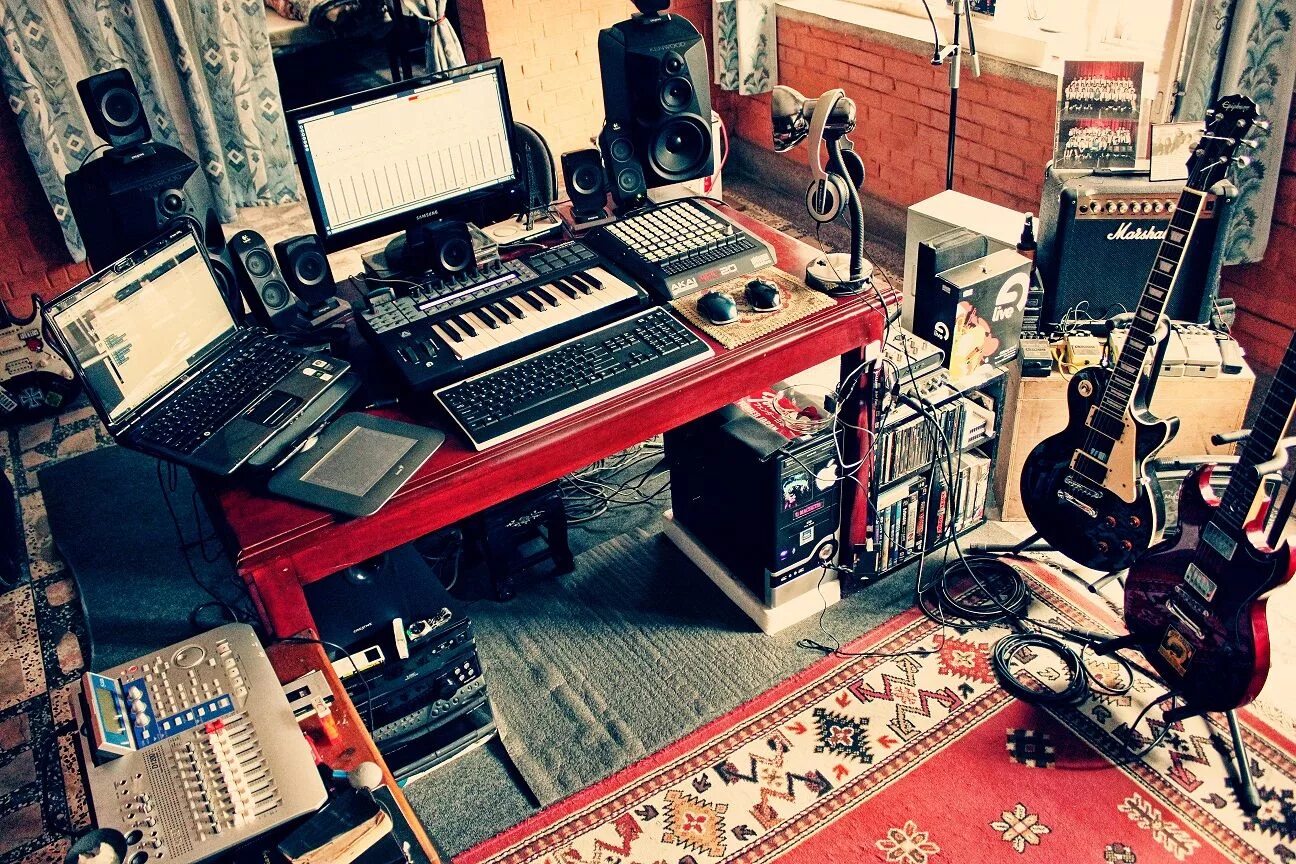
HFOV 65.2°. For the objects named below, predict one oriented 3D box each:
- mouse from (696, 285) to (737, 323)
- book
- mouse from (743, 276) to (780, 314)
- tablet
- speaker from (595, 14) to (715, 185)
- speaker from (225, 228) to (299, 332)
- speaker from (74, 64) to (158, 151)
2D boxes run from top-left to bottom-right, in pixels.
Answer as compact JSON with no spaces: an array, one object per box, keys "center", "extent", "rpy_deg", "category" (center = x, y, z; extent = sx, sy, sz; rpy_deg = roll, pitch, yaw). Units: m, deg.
[{"center":[0.219,-0.403,3.214],"extent":[0.082,0.045,0.132],"rpy_deg":[-29,46,-22],"category":"mouse"},{"center":[1.029,0.172,3.702],"extent":[0.561,0.476,0.179],"rpy_deg":[-27,42,-30],"category":"book"},{"center":[0.365,-0.439,3.238],"extent":[0.082,0.038,0.112],"rpy_deg":[-12,45,-8],"category":"mouse"},{"center":[-0.826,0.091,2.885],"extent":[0.391,0.125,0.331],"rpy_deg":[10,36,20],"category":"tablet"},{"center":[0.035,-1.159,3.500],"extent":[0.371,0.592,0.232],"rpy_deg":[-5,35,0],"category":"speaker"},{"center":[-1.237,-0.483,3.305],"extent":[0.097,0.357,0.182],"rpy_deg":[-1,23,45],"category":"speaker"},{"center":[-1.697,-1.030,3.232],"extent":[0.157,0.222,0.156],"rpy_deg":[-21,38,-23],"category":"speaker"}]
